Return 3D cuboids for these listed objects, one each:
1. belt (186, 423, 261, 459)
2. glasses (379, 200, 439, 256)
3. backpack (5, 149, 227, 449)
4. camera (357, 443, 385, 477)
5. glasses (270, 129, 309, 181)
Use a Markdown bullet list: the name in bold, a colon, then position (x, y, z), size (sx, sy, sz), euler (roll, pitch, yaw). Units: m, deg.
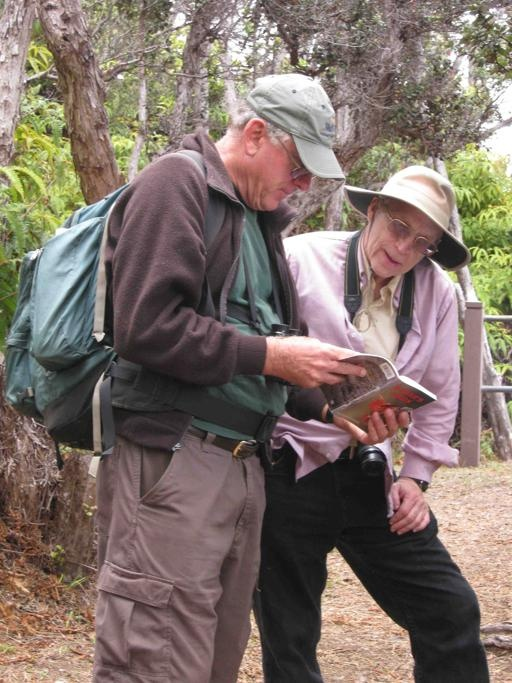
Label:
- **belt**: position (-0.089, 0.272, 1.949), size (0.140, 0.031, 0.117), euler (17, -3, 17)
- **glasses**: position (0.538, -0.389, 2.517), size (0.189, 0.054, 0.184), euler (30, 9, -25)
- **backpack**: position (-0.427, -0.115, 1.895), size (0.594, 0.800, 0.325), euler (3, 2, 24)
- **camera**: position (0.372, 0.382, 2.363), size (0.116, 0.087, 0.139), euler (-5, 8, -1)
- **glasses**: position (0.086, -0.511, 1.987), size (0.038, 0.113, 0.116), euler (-35, -15, 8)
